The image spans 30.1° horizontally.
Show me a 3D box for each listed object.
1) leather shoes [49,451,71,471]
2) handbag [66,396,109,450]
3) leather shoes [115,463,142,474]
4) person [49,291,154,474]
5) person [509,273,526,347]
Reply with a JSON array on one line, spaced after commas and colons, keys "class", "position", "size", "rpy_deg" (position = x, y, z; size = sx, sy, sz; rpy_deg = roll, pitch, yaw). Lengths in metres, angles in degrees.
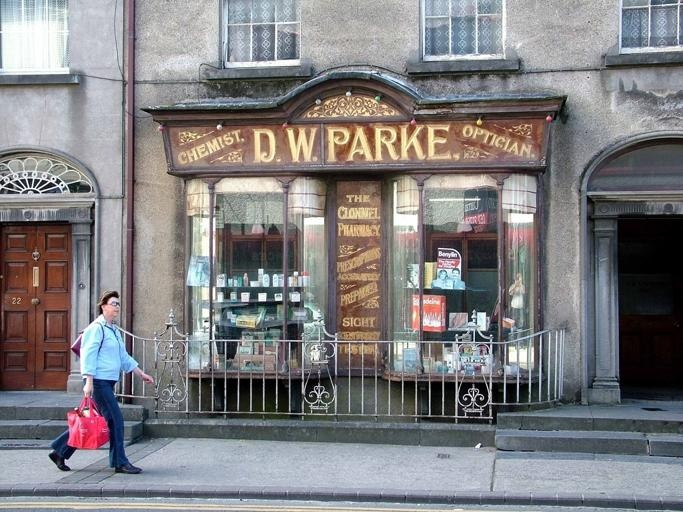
[{"class": "leather shoes", "position": [-4.172, 2.975, 18.619], "size": [0.132, 0.282, 0.102], "rpy_deg": [-33, 14, 12]}, {"class": "handbag", "position": [-3.669, 2.329, 18.368], "size": [0.632, 0.795, 0.503], "rpy_deg": [-8, 17, -23]}, {"class": "leather shoes", "position": [-3.146, 3.070, 18.512], "size": [0.328, 0.110, 0.153], "rpy_deg": [1, 1, 2]}, {"class": "person", "position": [-3.517, 1.818, 18.547], "size": [1.314, 2.638, 0.610], "rpy_deg": [1, -5, -12]}, {"class": "person", "position": [2.857, 0.789, 20.594], "size": [0.274, 1.052, 0.125], "rpy_deg": [0, -5, 5]}]
